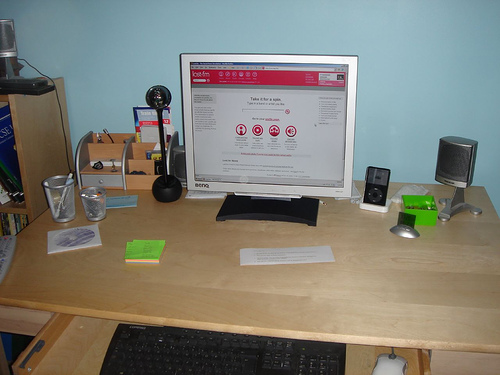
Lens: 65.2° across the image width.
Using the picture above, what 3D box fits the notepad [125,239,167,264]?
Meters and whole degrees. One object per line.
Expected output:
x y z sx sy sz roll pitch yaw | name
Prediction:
-0.354 0.217 1.338 0.116 0.029 0.138 -2 18 -11 | notepad

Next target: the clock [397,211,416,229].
0.591 0.116 1.467 0.063 0.064 0.006 5 0 40 | clock

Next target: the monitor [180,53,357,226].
0.066 -0.202 1.473 0.650 0.616 0.222 2 23 8 | monitor

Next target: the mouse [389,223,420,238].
0.568 0.155 1.435 0.107 0.030 0.050 8 20 24 | mouse

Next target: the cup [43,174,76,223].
-0.753 0.040 1.555 0.125 0.172 0.122 3 13 -1 | cup

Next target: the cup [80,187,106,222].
-0.614 0.055 1.559 0.109 0.120 0.105 5 21 -2 | cup

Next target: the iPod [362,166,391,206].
0.509 -0.018 1.568 0.090 0.159 0.019 11 18 26 | iPod
